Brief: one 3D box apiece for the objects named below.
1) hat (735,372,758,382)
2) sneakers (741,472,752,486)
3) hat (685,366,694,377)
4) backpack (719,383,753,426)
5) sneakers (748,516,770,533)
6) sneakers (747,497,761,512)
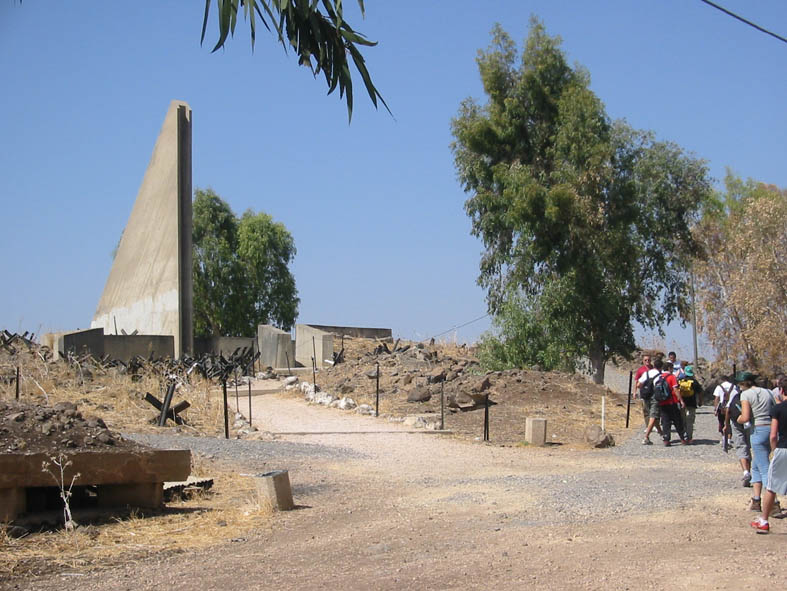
[{"bbox_3d":[6.369,1.442,15.176,0.223,0.101,0.176,-19,14,-10],"label":"hat"},{"bbox_3d":[6.760,3.538,16.214,0.108,0.159,0.328,1,2,11],"label":"sneakers"},{"bbox_3d":[7.561,1.978,21.644,0.249,0.154,0.382,4,4,16],"label":"hat"},{"bbox_3d":[6.632,2.086,16.382,0.363,1.176,0.392,2,-2,14],"label":"backpack"},{"bbox_3d":[5.848,3.647,13.478,0.260,0.225,0.235,0,2,23],"label":"sneakers"},{"bbox_3d":[6.165,3.574,14.545,0.220,0.267,0.158,2,1,-3],"label":"sneakers"}]
